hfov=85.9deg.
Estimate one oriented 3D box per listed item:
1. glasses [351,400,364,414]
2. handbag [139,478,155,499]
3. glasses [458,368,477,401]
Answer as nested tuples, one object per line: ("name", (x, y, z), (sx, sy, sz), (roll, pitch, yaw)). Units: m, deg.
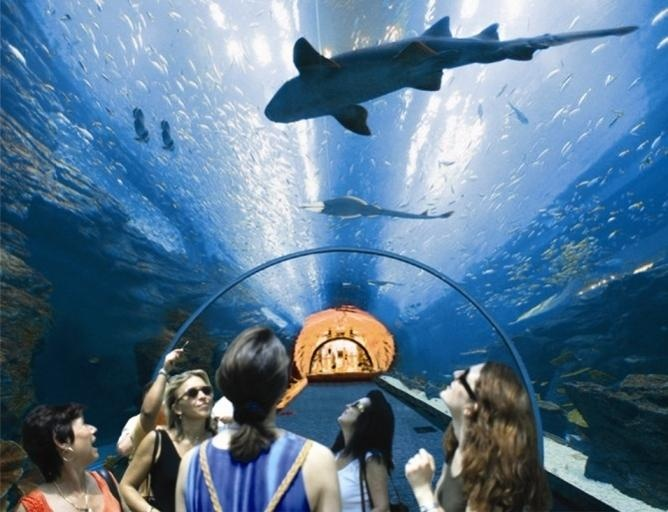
("glasses", (0.347, 2.109, 5.032), (0.096, 0.068, 0.218), (40, -15, 0))
("handbag", (-2.207, 2.759, 4.221), (0.075, 0.164, 0.246), (1, -42, -3))
("glasses", (1.342, 1.315, 3.643), (0.070, 0.265, 0.231), (-7, 5, -2))
